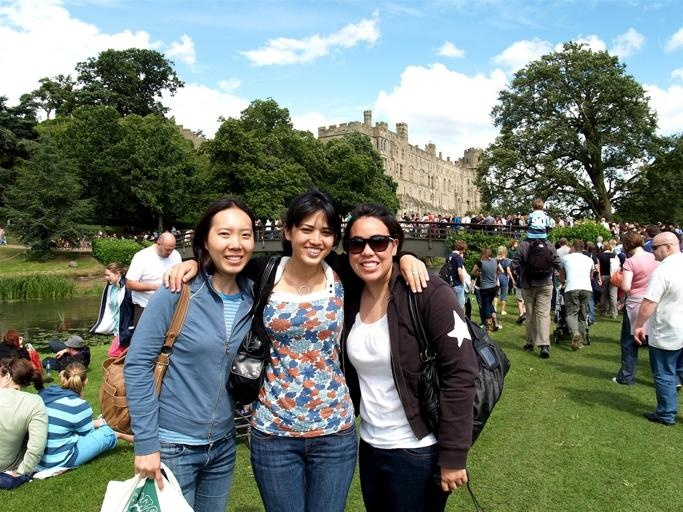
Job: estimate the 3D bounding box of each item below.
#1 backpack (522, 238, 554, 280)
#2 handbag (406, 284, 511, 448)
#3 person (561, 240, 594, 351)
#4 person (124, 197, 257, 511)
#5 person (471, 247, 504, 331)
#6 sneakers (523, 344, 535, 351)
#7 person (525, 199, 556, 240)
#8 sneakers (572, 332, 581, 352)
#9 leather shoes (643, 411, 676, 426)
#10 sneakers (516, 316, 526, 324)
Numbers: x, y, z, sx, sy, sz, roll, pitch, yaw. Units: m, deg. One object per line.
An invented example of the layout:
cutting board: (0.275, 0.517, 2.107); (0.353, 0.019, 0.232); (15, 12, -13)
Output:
backpack: (3.510, 0.064, 9.195); (0.450, 0.697, 0.699); (3, -29, 12)
handbag: (0.908, 0.772, 3.833); (0.759, 1.043, 0.437); (-6, 9, -31)
person: (4.525, 0.767, 9.902); (0.504, 2.154, 0.985); (6, 11, 41)
person: (-1.077, 0.767, 3.820); (1.000, 2.357, 0.464); (-5, 9, -23)
person: (3.271, 0.707, 11.406); (0.628, 1.814, 0.615); (1, 4, 25)
sneakers: (3.610, 1.749, 9.915); (0.232, 0.168, 0.091); (-5, -6, 22)
person: (3.925, -0.715, 10.273); (0.373, 0.835, 1.801); (2, 8, 22)
sneakers: (4.428, 1.612, 9.715); (0.131, 0.375, 0.167); (6, -4, -14)
leather shoes: (4.138, 2.105, 6.706); (0.112, 0.137, 0.332); (-5, -2, -39)
sneakers: (4.358, 1.556, 12.506); (0.131, 0.152, 0.355); (-44, -12, 29)
